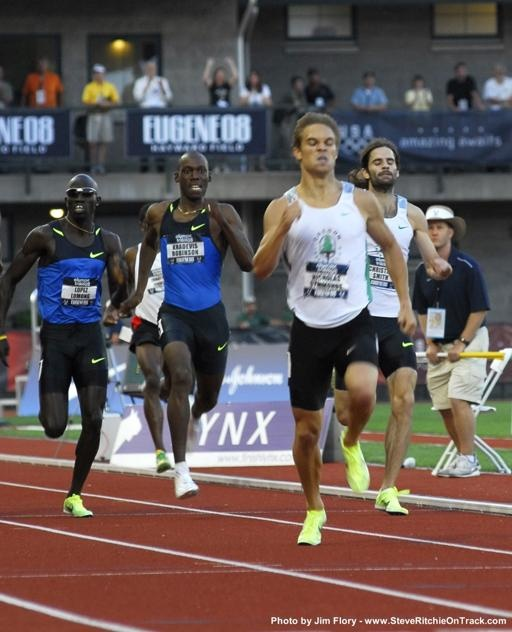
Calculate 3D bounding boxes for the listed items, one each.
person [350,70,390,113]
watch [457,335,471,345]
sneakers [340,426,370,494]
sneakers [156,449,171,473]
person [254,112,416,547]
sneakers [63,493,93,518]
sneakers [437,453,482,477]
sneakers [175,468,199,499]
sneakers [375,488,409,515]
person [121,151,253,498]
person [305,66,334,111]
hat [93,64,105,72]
[{"bbox_3d":[1.628,-3.148,16.611,0.514,0.807,0.408,-2,15,-6],"label":"person"},{"bbox_3d":[1.470,0.179,8.111,0.077,0.073,0.051,32,54,19],"label":"watch"},{"bbox_3d":[0.497,0.742,5.672,0.115,0.373,0.143,-11,-2,8],"label":"sneakers"},{"bbox_3d":[-0.593,0.922,7.262,0.062,0.086,0.185,-30,2,2],"label":"sneakers"},{"bbox_3d":[0.358,0.093,5.329,0.572,2.058,0.837,5,9,39],"label":"person"},{"bbox_3d":[-1.013,1.086,6.528,0.078,0.100,0.222,4,-5,-36],"label":"sneakers"},{"bbox_3d":[1.450,1.063,8.154,0.252,0.121,0.144,2,-6,-30],"label":"sneakers"},{"bbox_3d":[-0.379,0.912,6.232,0.099,0.163,0.164,-7,-20,-28],"label":"sneakers"},{"bbox_3d":[0.718,0.972,6.051,0.103,0.138,0.309,1,-7,-16],"label":"sneakers"},{"bbox_3d":[-0.365,0.009,6.714,0.715,1.918,1.319,-2,8,-11],"label":"person"},{"bbox_3d":[0.999,-3.532,17.944,0.465,0.637,0.898,-1,8,3],"label":"person"},{"bbox_3d":[-2.452,-3.898,17.927,0.111,0.125,0.151,9,-17,8],"label":"hat"}]
